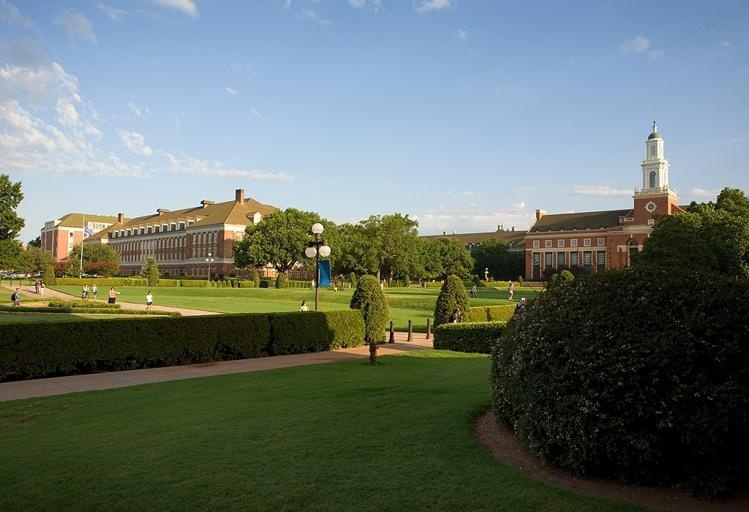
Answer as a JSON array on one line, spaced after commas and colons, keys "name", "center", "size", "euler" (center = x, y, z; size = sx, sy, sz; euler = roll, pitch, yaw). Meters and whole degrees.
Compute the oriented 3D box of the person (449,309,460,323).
[{"name": "person", "center": [3.428, 2.506, 25.131], "size": [0.307, 0.516, 0.771], "euler": [5, 6, 43]}]
